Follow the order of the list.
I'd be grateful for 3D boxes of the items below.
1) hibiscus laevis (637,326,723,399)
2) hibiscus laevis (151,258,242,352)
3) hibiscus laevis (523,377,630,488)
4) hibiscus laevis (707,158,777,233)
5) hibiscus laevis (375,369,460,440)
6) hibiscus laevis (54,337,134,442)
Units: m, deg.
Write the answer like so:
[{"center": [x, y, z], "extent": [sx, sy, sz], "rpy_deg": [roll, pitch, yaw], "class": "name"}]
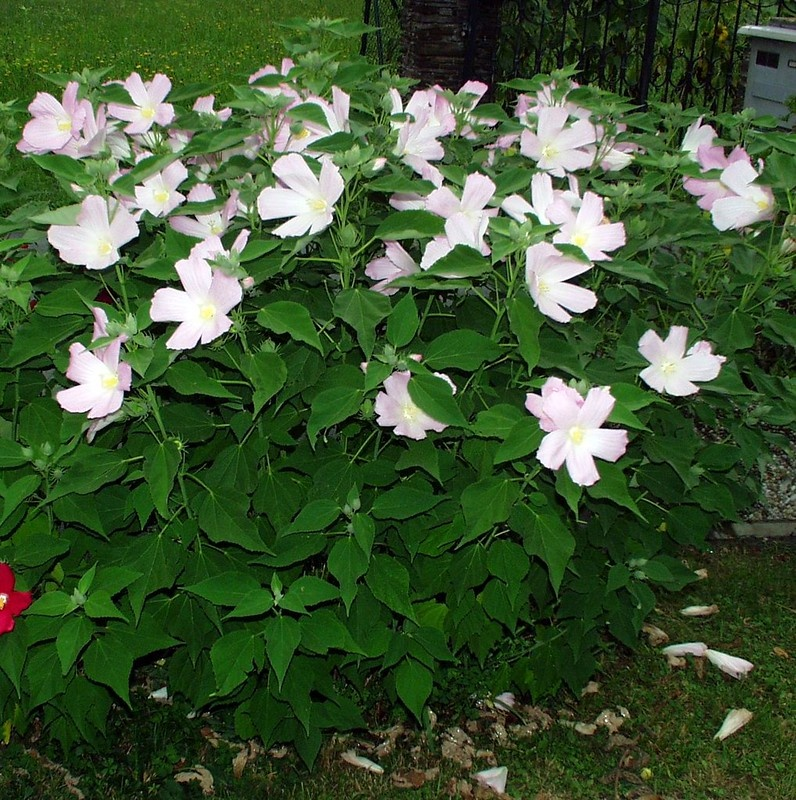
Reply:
[{"center": [0.691, -0.124, 1.701], "extent": [0.159, 0.062, 0.163], "rpy_deg": [30, 6, 1], "class": "hibiscus laevis"}, {"center": [-0.372, -0.182, 1.372], "extent": [0.227, 0.179, 0.099], "rpy_deg": [8, 1, 19], "class": "hibiscus laevis"}, {"center": [0.338, 0.079, 1.305], "extent": [0.188, 0.260, 0.229], "rpy_deg": [8, 29, 9], "class": "hibiscus laevis"}, {"center": [0.978, -0.570, 1.860], "extent": [0.159, 0.188, 0.128], "rpy_deg": [15, 32, 20], "class": "hibiscus laevis"}, {"center": [0.016, 0.006, 1.493], "extent": [0.169, 0.130, 0.060], "rpy_deg": [9, 12, 33], "class": "hibiscus laevis"}, {"center": [-0.639, -0.033, 1.344], "extent": [0.202, 0.161, 0.108], "rpy_deg": [-19, -5, 40], "class": "hibiscus laevis"}]
